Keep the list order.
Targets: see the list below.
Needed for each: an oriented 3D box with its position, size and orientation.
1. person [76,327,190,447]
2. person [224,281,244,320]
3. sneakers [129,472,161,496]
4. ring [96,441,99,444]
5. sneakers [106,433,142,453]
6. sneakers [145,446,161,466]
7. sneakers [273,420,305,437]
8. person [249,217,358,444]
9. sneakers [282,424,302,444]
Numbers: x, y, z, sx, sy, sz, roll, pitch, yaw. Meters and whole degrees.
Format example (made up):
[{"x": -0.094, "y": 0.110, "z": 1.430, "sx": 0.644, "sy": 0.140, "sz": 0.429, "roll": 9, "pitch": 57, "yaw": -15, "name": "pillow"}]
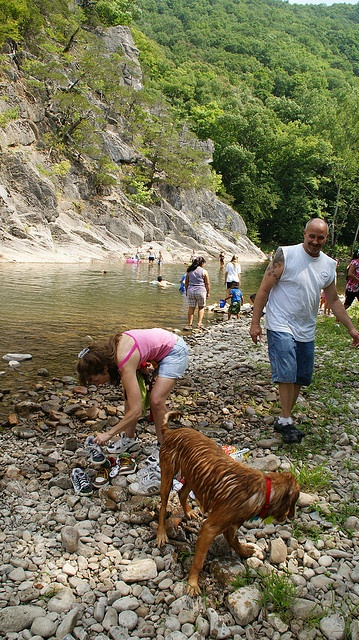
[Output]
[{"x": -0.402, "y": 0.497, "z": 3.765, "sx": 0.982, "sy": 1.116, "sz": 0.764, "roll": -2, "pitch": 2, "yaw": -20, "name": "person"}, {"x": 1.675, "y": -0.624, "z": 13.103, "sx": 0.484, "sy": 1.105, "sz": 1.501, "roll": 6, "pitch": 12, "yaw": 6, "name": "person"}, {"x": -0.267, "y": 1.310, "z": 3.404, "sx": 0.240, "sy": 0.099, "sz": 0.136, "roll": 5, "pitch": 18, "yaw": -25, "name": "sneakers"}, {"x": -0.596, "y": 0.887, "z": 3.106, "sx": 0.017, "sy": 0.017, "sz": 0.007, "roll": 2, "pitch": -13, "yaw": -9, "name": "ring"}, {"x": -0.531, "y": 1.201, "z": 4.169, "sx": 0.372, "sy": 0.191, "sz": 0.135, "roll": 1, "pitch": 4, "yaw": -18, "name": "sneakers"}, {"x": -0.225, "y": 1.232, "z": 3.911, "sx": 0.107, "sy": 0.125, "sz": 0.308, "roll": 2, "pitch": -5, "yaw": 10, "name": "sneakers"}, {"x": 1.067, "y": 1.070, "z": 4.179, "sx": 0.146, "sy": 0.109, "sz": 0.227, "roll": -8, "pitch": 23, "yaw": -35, "name": "sneakers"}, {"x": 1.054, "y": 0.103, "z": 4.131, "sx": 0.722, "sy": 2.118, "sz": 0.515, "roll": 7, "pitch": 13, "yaw": 10, "name": "person"}, {"x": 1.081, "y": 1.113, "z": 4.191, "sx": 0.135, "sy": 0.092, "sz": 0.198, "roll": -3, "pitch": 2, "yaw": -10, "name": "sneakers"}]
